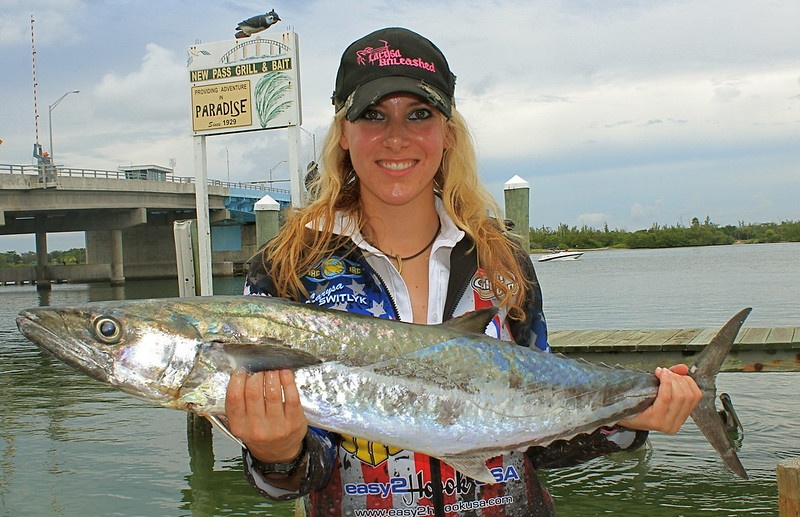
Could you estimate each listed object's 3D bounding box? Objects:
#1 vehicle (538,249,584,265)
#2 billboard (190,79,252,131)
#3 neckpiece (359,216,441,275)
[{"bbox_3d":[13.674,-0.093,81.895,1.609,1.408,6.140,-4,1,20],"label":"vehicle"},{"bbox_3d":[-3.993,-3.357,20.919,0.169,1.093,1.825,14,20,33],"label":"billboard"},{"bbox_3d":[0.098,-0.071,11.808,0.782,0.606,0.166,-5,-23,-2],"label":"neckpiece"}]
